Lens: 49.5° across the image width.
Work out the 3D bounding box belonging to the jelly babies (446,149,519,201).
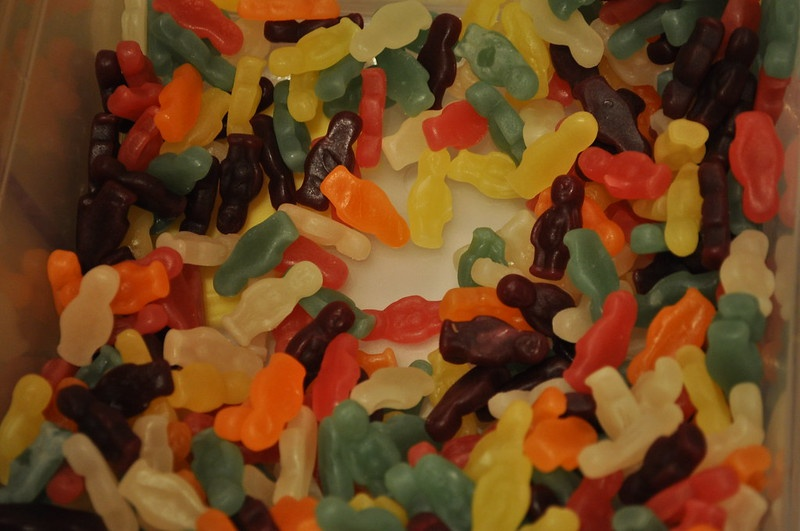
[{"bbox_3d":[0.199,-0.217,2.051,0.164,0.106,0.063,9,5,19],"label":"jelly babies"}]

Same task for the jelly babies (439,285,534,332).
[{"bbox_3d":[0.194,0.091,1.939,0.210,0.089,0.079,7,5,3],"label":"jelly babies"}]

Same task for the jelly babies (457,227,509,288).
[{"bbox_3d":[0.186,-0.016,1.988,0.104,0.132,0.044,14,-5,-7],"label":"jelly babies"}]

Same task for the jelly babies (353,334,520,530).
[{"bbox_3d":[0.086,0.350,1.781,0.323,0.289,0.373,5,6,-19],"label":"jelly babies"}]
